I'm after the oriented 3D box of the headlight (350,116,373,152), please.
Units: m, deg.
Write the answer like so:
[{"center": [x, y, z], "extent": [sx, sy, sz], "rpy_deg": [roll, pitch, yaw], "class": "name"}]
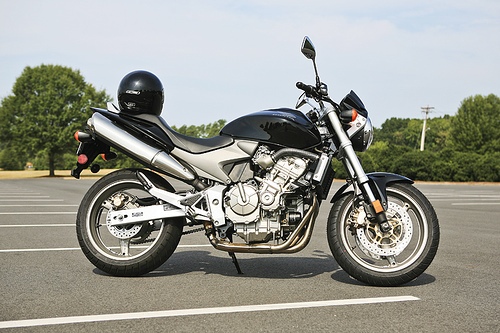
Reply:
[{"center": [1.559, -0.441, 6.195], "extent": [0.292, 0.471, 0.320], "rpy_deg": [1, 3, 16], "class": "headlight"}]
